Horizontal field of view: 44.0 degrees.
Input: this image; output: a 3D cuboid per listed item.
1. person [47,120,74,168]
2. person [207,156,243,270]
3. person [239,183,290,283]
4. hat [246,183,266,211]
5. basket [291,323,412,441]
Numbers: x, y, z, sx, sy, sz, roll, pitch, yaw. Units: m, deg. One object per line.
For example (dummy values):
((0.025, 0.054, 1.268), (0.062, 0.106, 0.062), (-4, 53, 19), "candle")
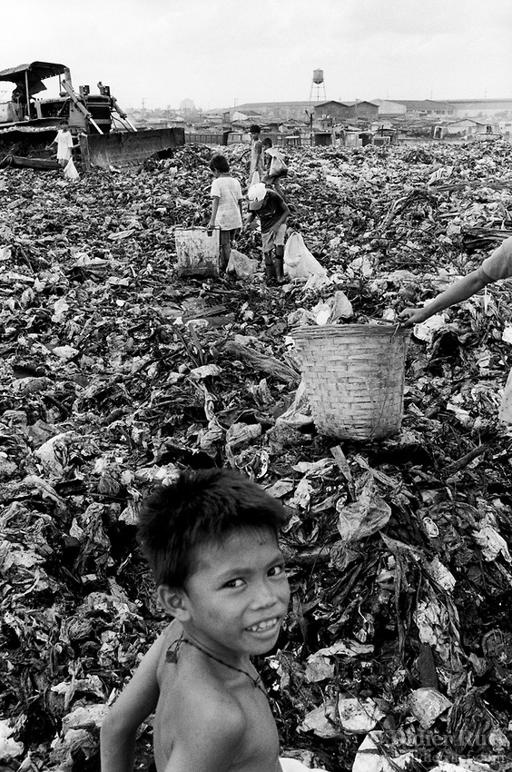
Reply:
((-3.876, -4.889, 12.777), (0.335, 1.004, 1.391), (-4, 10, -15), "person")
((-0.310, -1.747, 6.413), (0.342, 1.144, 0.709), (-2, 9, -2), "person")
((0.148, -1.492, 6.205), (0.346, 0.953, 0.422), (-7, 11, -30), "person")
((-0.003, -1.853, 6.189), (0.145, 0.252, 0.297), (-8, 11, -33), "hat")
((0.367, -0.070, 2.616), (0.441, 0.488, 0.441), (-5, 14, -4), "basket")
